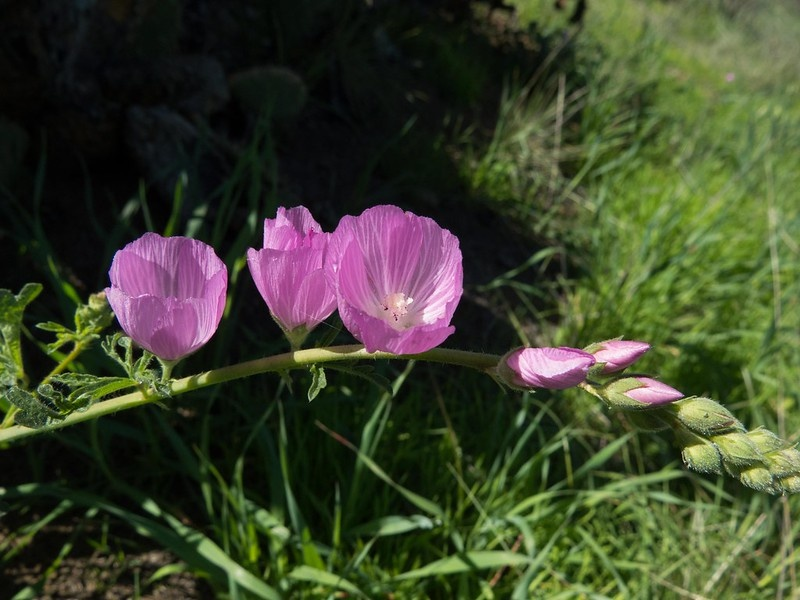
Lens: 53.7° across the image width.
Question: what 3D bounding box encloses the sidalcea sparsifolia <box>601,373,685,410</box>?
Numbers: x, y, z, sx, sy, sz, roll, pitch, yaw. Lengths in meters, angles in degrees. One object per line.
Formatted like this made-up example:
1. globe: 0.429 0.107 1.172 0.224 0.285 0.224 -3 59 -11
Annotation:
1. sidalcea sparsifolia: 0.547 0.213 1.779 0.151 0.070 0.079 3 -11 8

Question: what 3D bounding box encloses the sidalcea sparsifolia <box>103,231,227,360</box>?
1. sidalcea sparsifolia: -0.551 -0.012 1.862 0.271 0.248 0.155 20 31 -8

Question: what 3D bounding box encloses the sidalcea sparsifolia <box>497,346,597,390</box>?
1. sidalcea sparsifolia: 0.330 0.155 1.779 0.159 0.104 0.070 9 47 13

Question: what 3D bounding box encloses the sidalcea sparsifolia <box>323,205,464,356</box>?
1. sidalcea sparsifolia: 0.002 -0.038 1.870 0.318 0.217 0.333 6 77 -26

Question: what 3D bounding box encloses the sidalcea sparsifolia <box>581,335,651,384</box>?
1. sidalcea sparsifolia: 0.485 0.131 1.828 0.071 0.188 0.090 -41 111 -57

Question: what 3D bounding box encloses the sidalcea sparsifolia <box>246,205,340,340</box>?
1. sidalcea sparsifolia: -0.257 -0.019 1.912 0.205 0.291 0.223 1 -13 17
